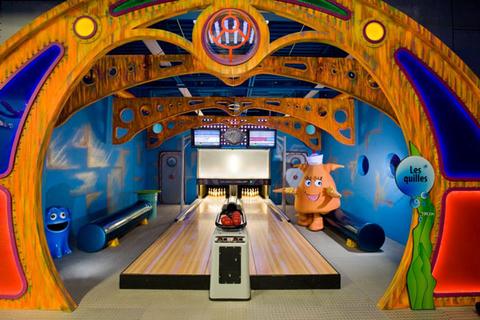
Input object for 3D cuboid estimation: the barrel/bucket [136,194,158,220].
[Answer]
[{"bbox_3d":[-2.702,1.347,10.464,0.552,0.835,1.028,-2,11,-8],"label":"barrel/bucket"}]
